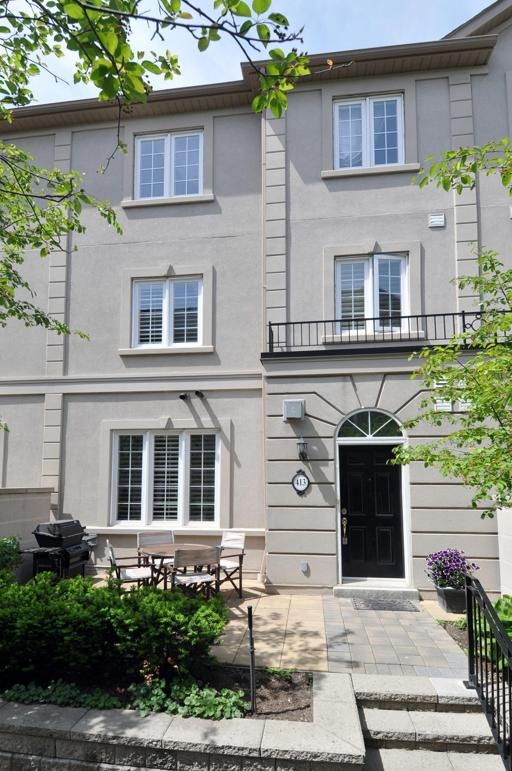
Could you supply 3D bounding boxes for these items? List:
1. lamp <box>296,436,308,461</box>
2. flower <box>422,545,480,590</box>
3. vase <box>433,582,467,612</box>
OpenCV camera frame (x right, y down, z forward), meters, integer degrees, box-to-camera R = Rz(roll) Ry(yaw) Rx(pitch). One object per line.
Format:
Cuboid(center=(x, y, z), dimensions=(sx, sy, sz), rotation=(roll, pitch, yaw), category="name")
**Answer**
Cuboid(center=(0.686, 0.966, 10.282), dimensions=(0.161, 0.338, 0.221), rotation=(2, 0, 25), category="lamp")
Cuboid(center=(2.649, 2.524, 9.266), dimensions=(0.655, 0.471, 0.403), rotation=(3, 0, 16), category="flower")
Cuboid(center=(2.600, 2.843, 9.165), dimensions=(0.369, 0.282, 0.545), rotation=(1, -14, -3), category="vase")
